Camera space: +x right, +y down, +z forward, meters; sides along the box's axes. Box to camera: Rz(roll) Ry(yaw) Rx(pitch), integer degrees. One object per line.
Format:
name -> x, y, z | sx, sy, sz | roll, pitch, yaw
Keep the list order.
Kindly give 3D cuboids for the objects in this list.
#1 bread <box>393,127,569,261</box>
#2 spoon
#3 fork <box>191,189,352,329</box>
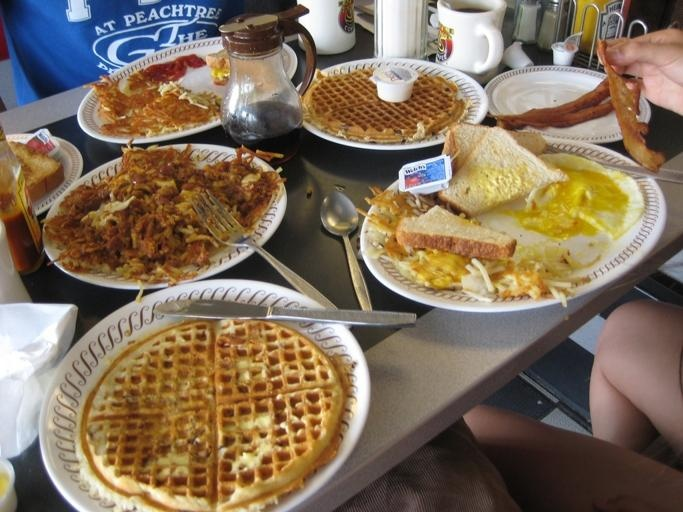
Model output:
bread -> 0.488, -0.208, 1.865 | 0.458, 0.491, 0.119 | -32, 63, 0
spoon -> 0.013, -0.054, 1.572 | 0.086, 0.050, 0.453 | -7, 52, -7
fork -> -0.209, 0.019, 1.537 | 0.472, 0.056, 0.066 | 46, 60, 4
